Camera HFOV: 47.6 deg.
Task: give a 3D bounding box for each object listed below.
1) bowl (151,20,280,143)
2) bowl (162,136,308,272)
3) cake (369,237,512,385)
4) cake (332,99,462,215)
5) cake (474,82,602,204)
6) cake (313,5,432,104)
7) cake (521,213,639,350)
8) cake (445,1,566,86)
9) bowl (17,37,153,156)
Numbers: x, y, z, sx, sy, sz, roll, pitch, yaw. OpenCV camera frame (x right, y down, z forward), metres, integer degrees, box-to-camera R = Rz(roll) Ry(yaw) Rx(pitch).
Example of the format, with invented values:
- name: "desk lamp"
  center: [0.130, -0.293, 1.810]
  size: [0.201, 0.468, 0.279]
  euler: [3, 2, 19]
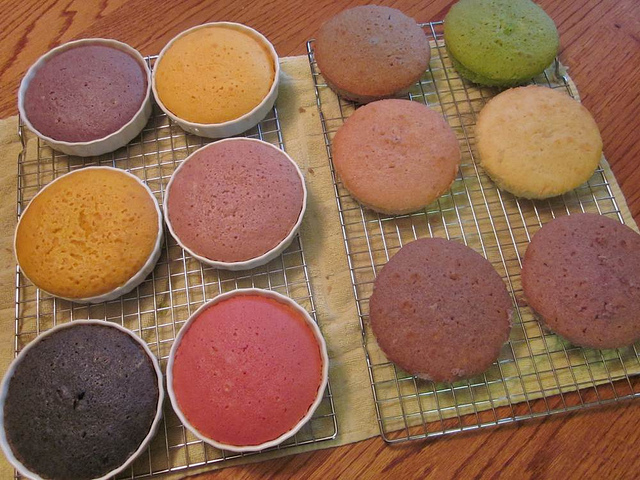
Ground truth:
- name: "bowl"
  center: [-0.352, -0.525, 2.317]
  size: [0.496, 0.114, 0.466]
  euler: [-8, 45, 8]
- name: "bowl"
  center: [-0.248, -0.115, 2.119]
  size: [0.405, 0.091, 0.401]
  euler: [1, 71, -4]
- name: "cake"
  center: [0.340, 0.196, 2.040]
  size: [0.400, 0.079, 0.391]
  euler: [40, 73, 9]
- name: "cake"
  center: [0.228, -0.254, 2.204]
  size: [0.362, 0.122, 0.369]
  euler: [-37, 77, -15]
- name: "cake"
  center: [0.656, -0.301, 2.195]
  size: [0.354, 0.087, 0.360]
  euler: [-11, 72, -8]
- name: "cake"
  center: [0.162, -0.588, 2.301]
  size: [0.341, 0.136, 0.324]
  euler: [-25, 75, -12]
- name: "cake"
  center: [0.750, 0.114, 2.077]
  size: [0.342, 0.136, 0.383]
  euler: [16, 71, 1]
- name: "cake"
  center: [0.566, -0.631, 2.282]
  size: [0.342, 0.110, 0.284]
  euler: [14, 71, 1]
- name: "bowl"
  center: [-0.715, -0.441, 2.257]
  size: [0.406, 0.134, 0.367]
  euler: [-23, 74, -11]
